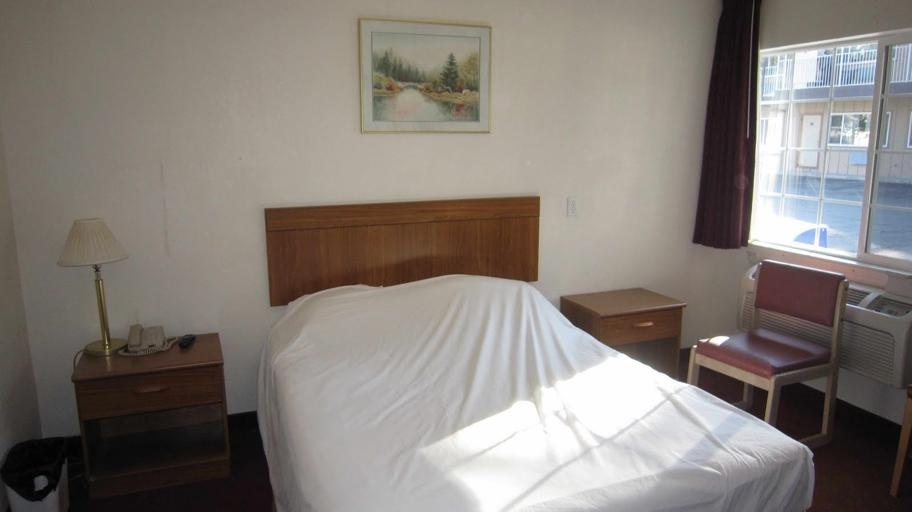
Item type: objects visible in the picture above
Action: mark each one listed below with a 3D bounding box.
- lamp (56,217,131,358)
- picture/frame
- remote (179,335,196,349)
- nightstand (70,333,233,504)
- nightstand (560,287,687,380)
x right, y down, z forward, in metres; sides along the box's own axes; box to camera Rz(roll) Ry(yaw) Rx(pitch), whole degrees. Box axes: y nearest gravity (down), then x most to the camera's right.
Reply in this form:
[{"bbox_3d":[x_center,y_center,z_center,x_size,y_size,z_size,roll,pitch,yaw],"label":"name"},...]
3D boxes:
[{"bbox_3d":[-2.851,0.224,4.673,0.471,1.066,0.364,-8,14,-20],"label":"lamp"},{"bbox_3d":[-0.317,-1.627,5.132,1.119,0.786,0.021,-1,12,-11],"label":"picture/frame"},{"bbox_3d":[-2.207,0.687,4.778,0.065,0.067,0.160,-1,13,-8],"label":"remote"},{"bbox_3d":[-2.701,1.445,5.032,1.148,0.806,1.025,-1,-1,-19],"label":"nightstand"},{"bbox_3d":[1.641,0.808,5.692,0.896,0.792,0.660,-5,10,-16],"label":"nightstand"}]
